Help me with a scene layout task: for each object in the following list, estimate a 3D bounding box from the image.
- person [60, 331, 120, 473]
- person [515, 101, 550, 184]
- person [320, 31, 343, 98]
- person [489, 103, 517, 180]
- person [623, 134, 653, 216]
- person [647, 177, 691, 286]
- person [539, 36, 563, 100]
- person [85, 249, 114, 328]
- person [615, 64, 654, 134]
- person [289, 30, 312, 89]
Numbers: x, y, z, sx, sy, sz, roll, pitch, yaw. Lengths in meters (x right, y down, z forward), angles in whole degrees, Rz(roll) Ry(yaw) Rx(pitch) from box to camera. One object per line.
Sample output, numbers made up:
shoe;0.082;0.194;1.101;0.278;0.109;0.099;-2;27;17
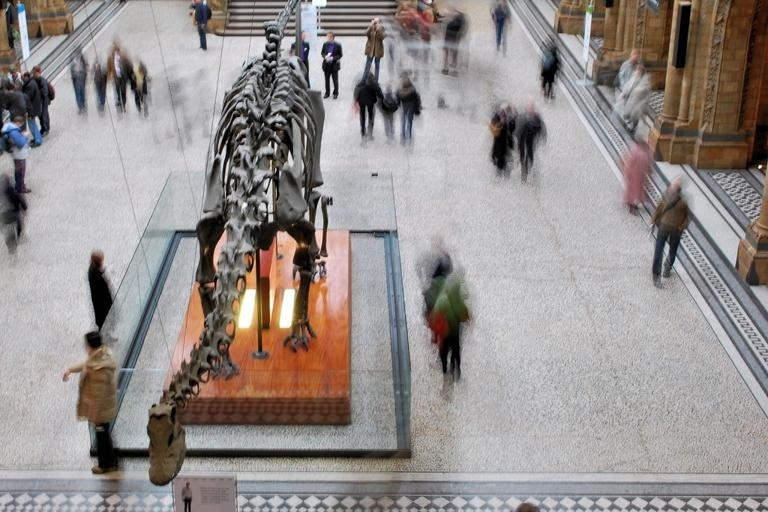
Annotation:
person;-3.228;1.649;6.822;0.517;1.601;0.425;-19;30;-33
person;3.410;-2.610;13.520;0.476;2.157;0.989;2;-1;8
person;-1.513;-5.407;17.169;0.536;1.805;1.048;-3;26;-5
person;2.646;-2.653;13.560;0.455;1.401;1.177;7;28;17
person;5.351;-1.904;12.861;0.599;0.946;2.553;11;32;21
person;4.685;-0.442;9.934;0.583;1.717;0.514;4;33;13
person;4.612;-5.161;16.776;0.482;1.511;0.551;20;65;20
person;-4.015;0.505;8.378;0.389;0.302;1.360;-3;42;-29
person;6.019;-3.907;14.782;0.709;1.847;0.552;17;50;27
person;-2.267;-5.267;16.861;0.593;1.876;0.582;-1;-8;-40
